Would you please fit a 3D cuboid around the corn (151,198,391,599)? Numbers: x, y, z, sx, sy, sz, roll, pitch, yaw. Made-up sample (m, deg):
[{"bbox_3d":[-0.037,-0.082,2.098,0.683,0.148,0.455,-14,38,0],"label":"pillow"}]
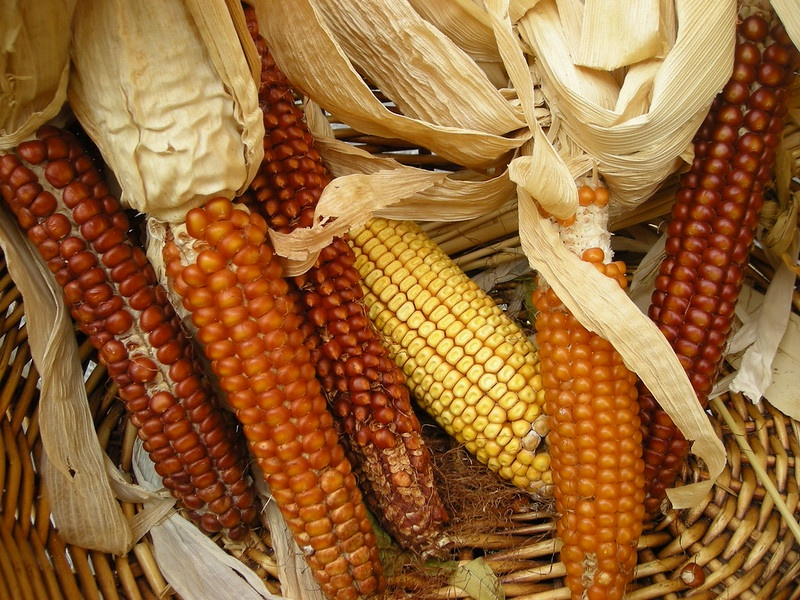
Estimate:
[{"bbox_3d":[-0.318,0.219,2.026,0.313,1.355,0.368,-22,-4,5],"label":"corn"}]
